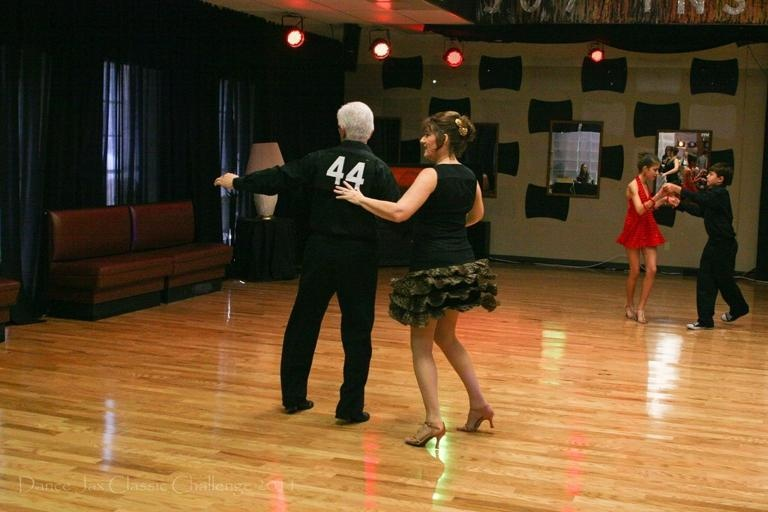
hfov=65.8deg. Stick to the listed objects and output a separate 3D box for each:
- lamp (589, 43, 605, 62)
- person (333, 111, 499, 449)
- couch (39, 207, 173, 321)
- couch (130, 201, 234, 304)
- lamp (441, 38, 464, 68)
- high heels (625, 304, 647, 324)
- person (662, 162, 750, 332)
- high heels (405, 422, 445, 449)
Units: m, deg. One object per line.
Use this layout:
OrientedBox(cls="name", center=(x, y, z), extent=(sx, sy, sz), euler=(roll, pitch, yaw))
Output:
OrientedBox(cls="lamp", center=(3.553, -3.405, 9.918), extent=(0.221, 0.351, 0.823), euler=(5, 11, 17))
OrientedBox(cls="person", center=(0.319, 0.325, 4.016), extent=(1.026, 1.904, 0.490), euler=(1, 11, -2))
OrientedBox(cls="couch", center=(-3.280, 0.106, 7.325), extent=(1.162, 1.600, 1.693), euler=(1, 4, 26))
OrientedBox(cls="couch", center=(-2.764, -0.067, 7.657), extent=(1.167, 1.062, 0.679), euler=(-12, 23, -42))
OrientedBox(cls="lamp", center=(1.210, -3.533, 10.317), extent=(0.370, 0.552, 1.230), euler=(2, 11, 5))
OrientedBox(cls="high heels", center=(3.076, 0.704, 7.241), extent=(0.116, 0.143, 0.371), euler=(-1, -2, -2))
OrientedBox(cls="person", center=(3.824, -0.133, 7.055), extent=(1.136, 1.896, 0.594), euler=(-2, 11, -17))
OrientedBox(cls="high heels", center=(0.297, 1.197, 4.064), extent=(0.281, 0.162, 0.149), euler=(3, -1, 20))
